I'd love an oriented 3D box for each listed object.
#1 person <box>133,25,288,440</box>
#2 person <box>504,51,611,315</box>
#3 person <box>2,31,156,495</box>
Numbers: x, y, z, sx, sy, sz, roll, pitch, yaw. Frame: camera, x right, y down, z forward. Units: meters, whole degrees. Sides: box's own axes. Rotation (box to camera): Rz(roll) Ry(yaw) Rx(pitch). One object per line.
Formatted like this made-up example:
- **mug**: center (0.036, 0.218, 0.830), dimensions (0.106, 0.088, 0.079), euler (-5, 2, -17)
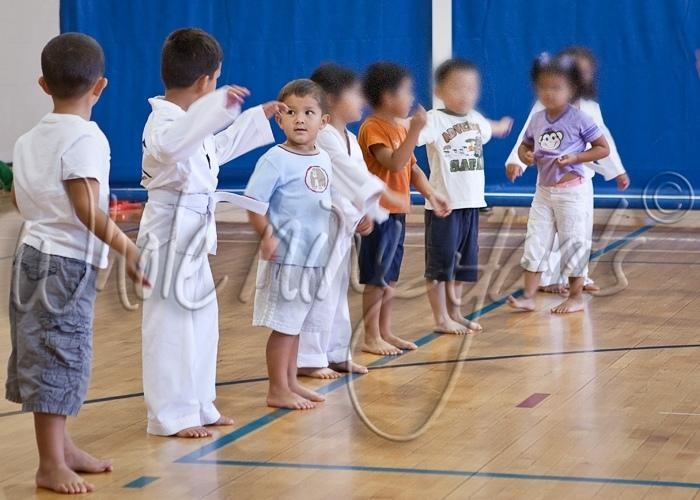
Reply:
- **person**: center (-0.544, -0.072, 2.634), dimensions (0.557, 1.506, 0.491), euler (-9, 13, -33)
- **person**: center (1.248, -0.397, 4.167), dimensions (0.511, 1.526, 0.406), euler (2, 12, 18)
- **person**: center (-0.889, 0.041, 2.206), dimensions (0.435, 1.444, 0.386), euler (-6, 12, -23)
